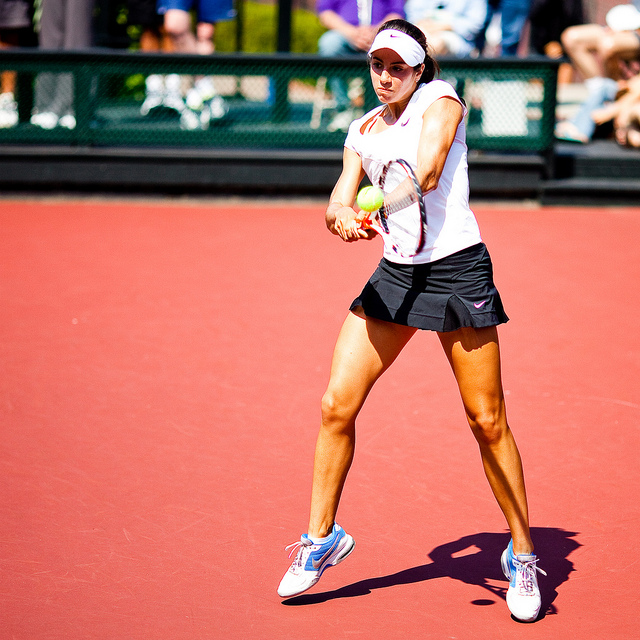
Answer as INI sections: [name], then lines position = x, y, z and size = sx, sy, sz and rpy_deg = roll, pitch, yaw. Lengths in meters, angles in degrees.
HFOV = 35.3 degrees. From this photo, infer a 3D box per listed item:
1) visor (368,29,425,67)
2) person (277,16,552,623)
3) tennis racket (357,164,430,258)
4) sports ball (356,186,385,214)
[visor]
position = 0.250, -0.887, 3.322
size = 0.187, 0.125, 0.124
rpy_deg = 2, -3, 5
[person]
position = 0.328, 0.024, 3.546
size = 0.797, 2.006, 0.659
rpy_deg = 4, -3, -36
[tennis racket]
position = 0.247, -0.361, 3.318
size = 0.224, 0.299, 0.388
rpy_deg = 2, -3, 6
[sports ball]
position = 0.157, -0.385, 3.245
size = 0.080, 0.085, 0.080
rpy_deg = 2, 9, 0
